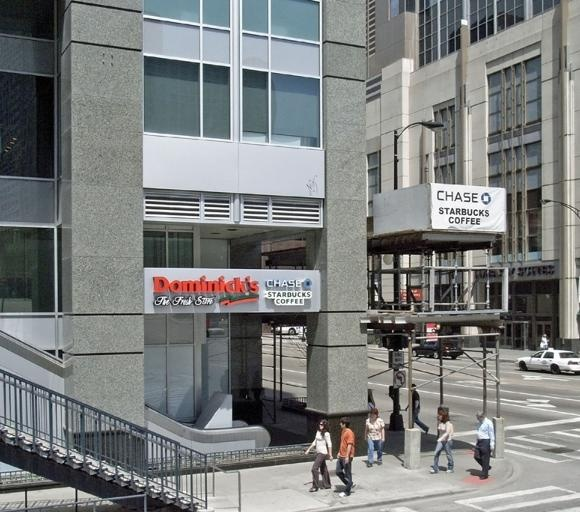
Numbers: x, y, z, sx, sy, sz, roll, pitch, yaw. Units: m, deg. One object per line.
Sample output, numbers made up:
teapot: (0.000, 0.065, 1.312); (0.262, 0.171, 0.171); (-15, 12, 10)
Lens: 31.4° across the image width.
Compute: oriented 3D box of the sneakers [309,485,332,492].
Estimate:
sneakers: (0.754, 6.081, 27.073); (0.521, 0.211, 0.190); (6, -13, -21)

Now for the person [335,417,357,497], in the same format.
person: (1.440, 5.414, 27.661); (0.634, 2.329, 0.810); (8, -26, -5)

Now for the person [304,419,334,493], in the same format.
person: (0.753, 5.224, 27.262); (0.603, 1.821, 1.077); (0, -5, 1)

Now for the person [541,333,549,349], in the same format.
person: (15.258, 5.106, 62.291); (0.330, 0.908, 0.490); (5, 0, 11)

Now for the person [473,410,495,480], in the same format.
person: (5.321, 5.217, 28.630); (0.507, 1.797, 0.672); (-1, -5, 9)

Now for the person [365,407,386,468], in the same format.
person: (2.403, 5.143, 29.771); (0.470, 1.684, 1.561); (-1, -5, 4)
